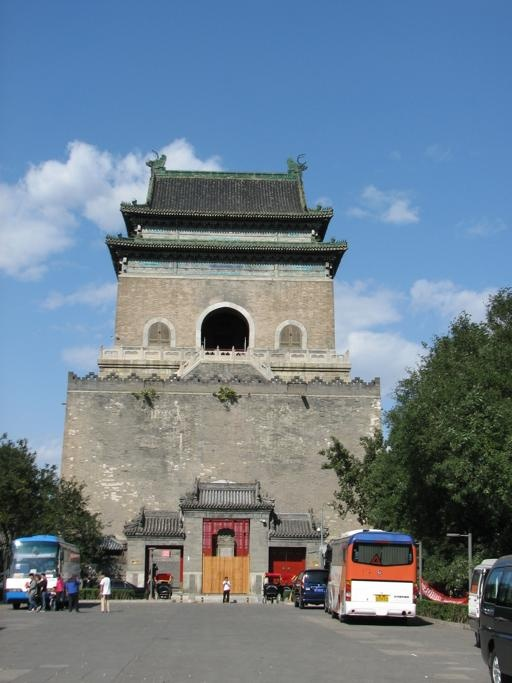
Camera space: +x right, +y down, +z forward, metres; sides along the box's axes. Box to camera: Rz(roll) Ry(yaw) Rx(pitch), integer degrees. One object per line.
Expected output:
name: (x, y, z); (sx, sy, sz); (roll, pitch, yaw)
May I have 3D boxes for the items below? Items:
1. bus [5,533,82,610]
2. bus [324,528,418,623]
bus: (-6.228, 6.659, 32.732); (1.600, 1.893, 4.229); (-1, -6, 8)
bus: (2.782, 5.504, 25.717); (1.377, 1.433, 3.358); (1, -12, -1)
